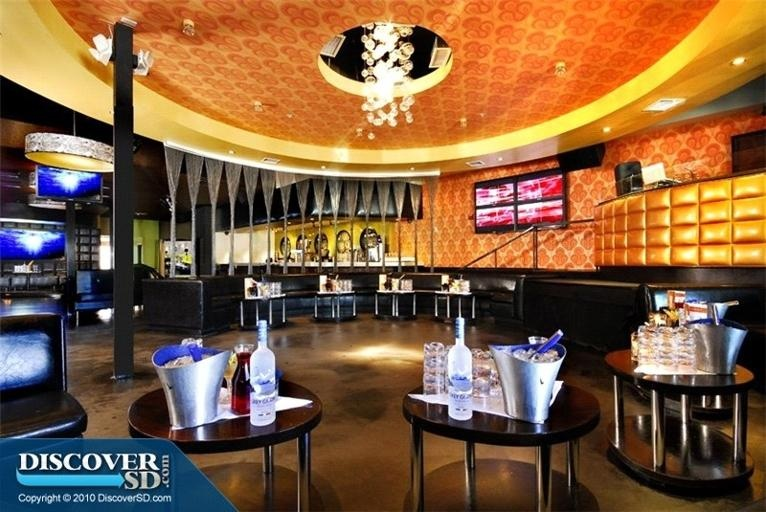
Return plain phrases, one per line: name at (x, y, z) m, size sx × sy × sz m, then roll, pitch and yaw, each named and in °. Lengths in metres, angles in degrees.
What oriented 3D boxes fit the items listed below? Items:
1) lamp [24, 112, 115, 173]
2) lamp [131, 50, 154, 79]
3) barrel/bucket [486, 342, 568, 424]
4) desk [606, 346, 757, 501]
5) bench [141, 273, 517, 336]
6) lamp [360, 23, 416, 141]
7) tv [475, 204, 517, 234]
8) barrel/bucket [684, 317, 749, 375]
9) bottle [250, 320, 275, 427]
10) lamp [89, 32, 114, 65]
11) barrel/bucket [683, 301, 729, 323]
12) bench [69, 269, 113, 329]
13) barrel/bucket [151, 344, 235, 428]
lamp at (-4.469, -1.490, 7.144) m, size 0.888 × 0.342 × 1.042 m, roll -2°, pitch -1°, yaw 5°
lamp at (-2.965, -2.429, 6.133) m, size 0.138 × 0.363 × 0.513 m, roll -2°, pitch -1°, yaw -8°
barrel/bucket at (0.946, 0.840, 3.592) m, size 0.751 × 0.573 × 0.503 m, roll 0°, pitch -2°, yaw 6°
desk at (2.455, 1.345, 4.164) m, size 1.096 × 1.118 × 0.734 m, roll -2°, pitch -1°, yaw 15°
bench at (-0.875, 0.792, 9.176) m, size 6.299 × 0.950 × 2.521 m, roll -1°, pitch -1°, yaw -11°
lamp at (0.121, -2.625, 7.084) m, size 0.645 × 1.406 × 0.583 m, roll 0°, pitch 8°, yaw 15°
tv at (2.572, -0.838, 11.418) m, size 0.112 × 0.511 × 1.063 m, roll -1°, pitch -1°, yaw -40°
barrel/bucket at (2.684, 0.723, 4.095) m, size 0.480 × 0.409 × 0.432 m, roll 1°, pitch -1°, yaw 23°
bottle at (-0.837, 0.803, 3.462) m, size 0.189 × 0.709 × 0.225 m, roll -2°, pitch -1°, yaw -12°
lamp at (-3.363, -2.506, 5.922) m, size 0.214 × 0.426 × 0.587 m, roll -1°, pitch -1°, yaw -32°
barrel/bucket at (2.789, 0.481, 4.302) m, size 0.225 × 0.131 × 0.317 m, roll 1°, pitch -5°, yaw -4°
bench at (-5.399, 0.777, 9.173) m, size 0.672 × 1.073 × 1.107 m, roll -2°, pitch -3°, yaw 42°
barrel/bucket at (-1.254, 0.830, 3.569) m, size 0.691 × 0.541 × 0.531 m, roll 0°, pitch 0°, yaw -9°
